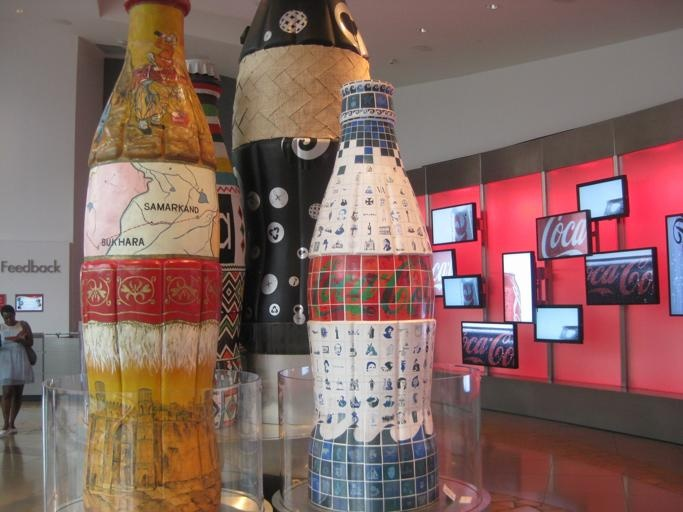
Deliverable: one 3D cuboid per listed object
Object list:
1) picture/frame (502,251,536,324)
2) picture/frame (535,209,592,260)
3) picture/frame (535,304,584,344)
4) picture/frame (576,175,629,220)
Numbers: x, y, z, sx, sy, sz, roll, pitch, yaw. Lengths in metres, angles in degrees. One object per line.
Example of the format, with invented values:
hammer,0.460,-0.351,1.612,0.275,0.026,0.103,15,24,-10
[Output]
picture/frame,1.914,0.337,6.564,0.171,0.753,0.580,1,-5,-19
picture/frame,2.230,-0.194,6.050,0.072,0.455,0.605,7,-9,-32
picture/frame,2.187,0.669,6.069,0.169,0.365,0.608,1,-5,-21
picture/frame,2.427,-0.524,5.632,0.089,0.370,0.550,2,-5,-30
